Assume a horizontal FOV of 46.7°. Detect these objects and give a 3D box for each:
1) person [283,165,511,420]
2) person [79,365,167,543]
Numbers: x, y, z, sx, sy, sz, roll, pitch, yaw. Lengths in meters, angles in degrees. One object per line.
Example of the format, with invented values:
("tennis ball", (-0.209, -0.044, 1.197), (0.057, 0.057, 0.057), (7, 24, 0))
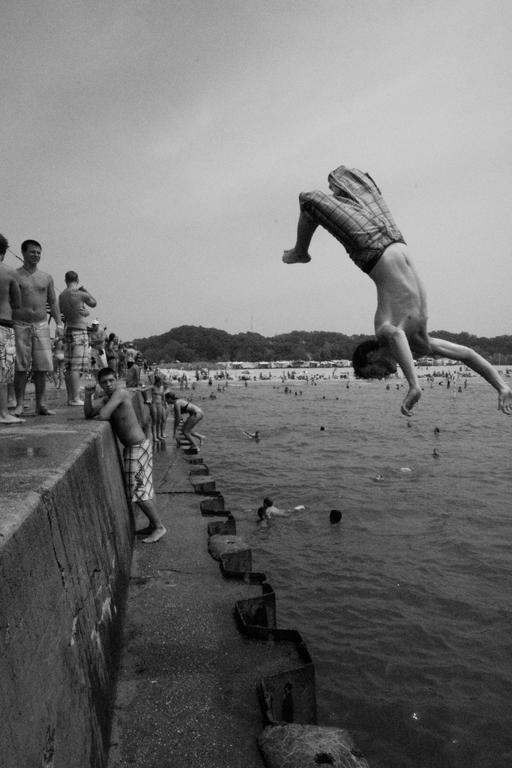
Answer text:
("person", (1.035, -0.706, 4.404), (1.444, 1.844, 0.692), (1, 2, 3))
("person", (-1.641, 0.921, 7.379), (0.740, 2.244, 1.167), (1, 2, 15))
